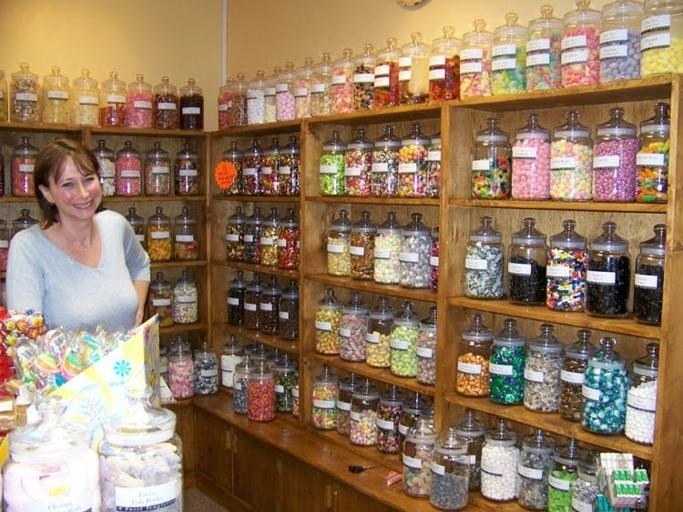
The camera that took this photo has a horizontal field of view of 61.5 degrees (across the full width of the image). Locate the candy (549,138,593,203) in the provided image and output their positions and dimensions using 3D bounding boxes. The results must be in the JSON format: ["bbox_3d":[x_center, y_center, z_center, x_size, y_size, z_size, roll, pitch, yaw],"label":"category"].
[{"bbox_3d":[0.993,-0.371,2.457,0.161,0.265,0.067,1,5,22],"label":"candy"}]

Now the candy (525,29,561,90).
[{"bbox_3d":[0.894,-0.865,2.523,0.138,0.261,0.084,1,5,17],"label":"candy"}]

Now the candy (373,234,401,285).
[{"bbox_3d":[0.266,0.016,3.262,0.142,0.285,0.079,0,5,8],"label":"candy"}]

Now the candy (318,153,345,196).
[{"bbox_3d":[-0.069,-0.499,3.527,0.215,0.255,0.094,4,7,45],"label":"candy"}]

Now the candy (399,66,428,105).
[{"bbox_3d":[0.381,-0.890,3.006,0.186,0.202,0.182,-6,12,-26],"label":"candy"}]

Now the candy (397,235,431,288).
[{"bbox_3d":[0.407,0.028,3.121,0.163,0.291,0.082,0,5,10],"label":"candy"}]

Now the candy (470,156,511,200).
[{"bbox_3d":[0.720,-0.362,2.727,0.183,0.203,0.185,0,-1,0],"label":"candy"}]

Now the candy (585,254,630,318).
[{"bbox_3d":[1.126,0.116,2.411,0.161,0.263,0.121,2,6,25],"label":"candy"}]

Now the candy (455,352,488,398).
[{"bbox_3d":[0.658,0.603,2.949,0.181,0.207,0.189,3,4,32],"label":"candy"}]

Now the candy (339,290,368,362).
[{"bbox_3d":[0.081,0.434,3.501,0.171,0.413,0.117,-1,5,2],"label":"candy"}]

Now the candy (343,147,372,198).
[{"bbox_3d":[0.106,-0.505,3.355,0.152,0.303,0.085,0,5,4],"label":"candy"}]

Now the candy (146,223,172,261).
[{"bbox_3d":[-1.366,-0.103,4.446,0.240,0.375,0.244,-2,5,-14],"label":"candy"}]

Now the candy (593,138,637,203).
[{"bbox_3d":[1.113,-0.350,2.318,0.157,0.259,0.096,2,6,28],"label":"candy"}]

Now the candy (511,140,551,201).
[{"bbox_3d":[0.858,-0.390,2.579,0.158,0.272,0.083,1,5,19],"label":"candy"}]

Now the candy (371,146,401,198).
[{"bbox_3d":[0.253,-0.479,3.209,0.149,0.290,0.087,0,5,9],"label":"candy"}]

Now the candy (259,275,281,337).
[{"bbox_3d":[-0.514,0.363,4.165,0.183,0.412,0.117,1,5,19],"label":"candy"}]

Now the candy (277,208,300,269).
[{"bbox_3d":[-0.333,-0.110,3.854,0.123,0.408,0.311,-4,6,-33],"label":"candy"}]

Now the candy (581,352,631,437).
[{"bbox_3d":[1.117,0.583,2.402,0.178,0.305,0.119,2,5,24],"label":"candy"}]

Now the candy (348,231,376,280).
[{"bbox_3d":[0.132,-0.007,3.394,0.144,0.298,0.083,0,5,9],"label":"candy"}]

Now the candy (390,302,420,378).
[{"bbox_3d":[0.357,0.470,3.174,0.163,0.404,0.214,0,5,5],"label":"candy"}]

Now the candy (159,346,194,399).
[{"bbox_3d":[-1.250,0.890,4.401,0.209,0.409,0.135,-1,5,-9],"label":"candy"}]

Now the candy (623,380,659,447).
[{"bbox_3d":[1.183,0.620,2.255,0.102,0.246,0.132,2,6,26],"label":"candy"}]

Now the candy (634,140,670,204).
[{"bbox_3d":[1.204,-0.321,2.210,0.106,0.226,0.060,2,6,32],"label":"candy"}]

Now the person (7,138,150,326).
[{"bbox_3d":[-1.274,-0.092,2.892,0.397,0.929,0.795,1,6,21],"label":"person"}]

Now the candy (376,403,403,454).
[{"bbox_3d":[0.279,0.973,3.243,0.169,0.307,0.096,2,6,32],"label":"candy"}]

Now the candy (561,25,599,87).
[{"bbox_3d":[1.006,-0.840,2.398,0.143,0.250,0.086,1,5,18],"label":"candy"}]

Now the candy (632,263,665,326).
[{"bbox_3d":[1.220,0.151,2.270,0.111,0.231,0.072,4,7,42],"label":"candy"}]

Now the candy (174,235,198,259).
[{"bbox_3d":[-1.233,-0.081,4.582,0.176,0.202,0.177,-5,9,-36],"label":"candy"}]

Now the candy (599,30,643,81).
[{"bbox_3d":[1.111,-0.792,2.333,0.205,0.222,0.185,2,7,30],"label":"candy"}]

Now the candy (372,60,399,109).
[{"bbox_3d":[0.251,-0.945,3.134,0.153,0.259,0.093,1,5,15],"label":"candy"}]

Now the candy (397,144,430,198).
[{"bbox_3d":[0.388,-0.459,3.054,0.153,0.287,0.063,1,5,13],"label":"candy"}]
